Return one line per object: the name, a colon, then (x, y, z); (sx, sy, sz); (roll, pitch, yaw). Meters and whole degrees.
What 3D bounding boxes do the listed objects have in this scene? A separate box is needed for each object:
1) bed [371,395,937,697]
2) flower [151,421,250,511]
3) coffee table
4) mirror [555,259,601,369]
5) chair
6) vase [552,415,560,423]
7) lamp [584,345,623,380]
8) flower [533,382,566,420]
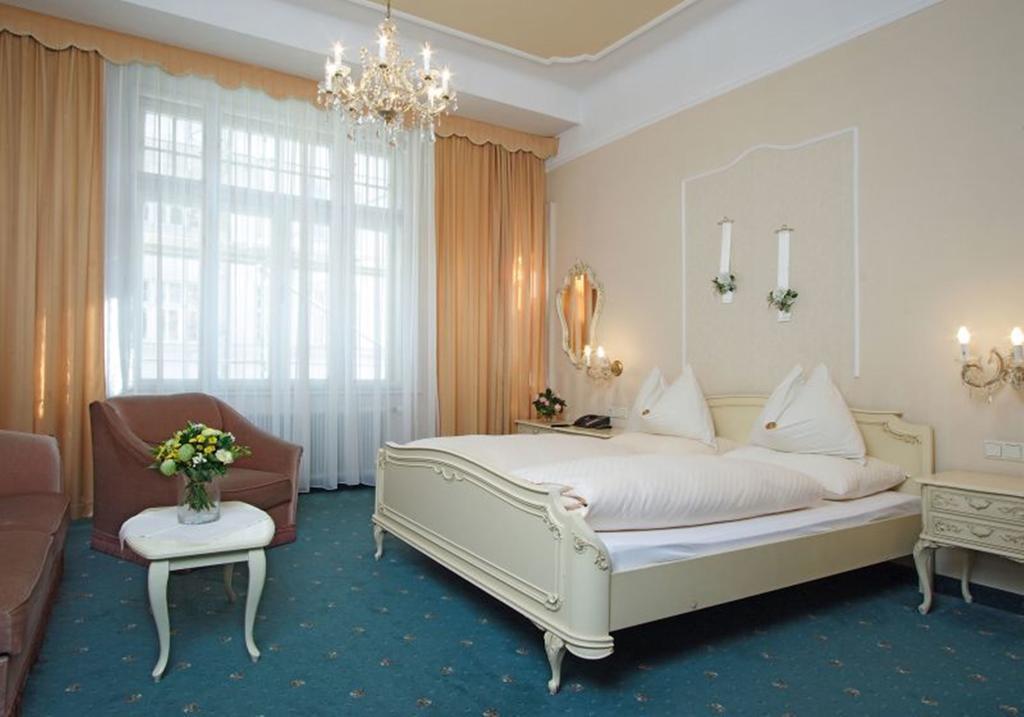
bed: (0.973, 1.123, 4.420); (2.288, 1.081, 1.990); (2, -2, -27)
flower: (-1.858, 0.596, 4.254); (0.504, 0.493, 0.523); (2, 2, 10)
coffee table: (-1.805, 1.186, 3.997); (0.825, 0.720, 0.890); (2, -5, -33)
mirror: (0.727, -0.483, 7.649); (0.213, 1.098, 0.705); (-4, 13, -22)
chair: (-2.481, 0.807, 5.425); (1.329, 1.239, 1.282); (-3, -5, 32)
vase: (0.492, 0.676, 7.730); (0.054, 0.071, 0.100); (4, 3, 32)
lamp: (0.958, 0.038, 7.281); (0.339, 0.454, 0.307); (3, -6, -30)
flower: (0.425, 0.463, 7.606); (0.328, 0.337, 0.335); (3, 1, -10)
